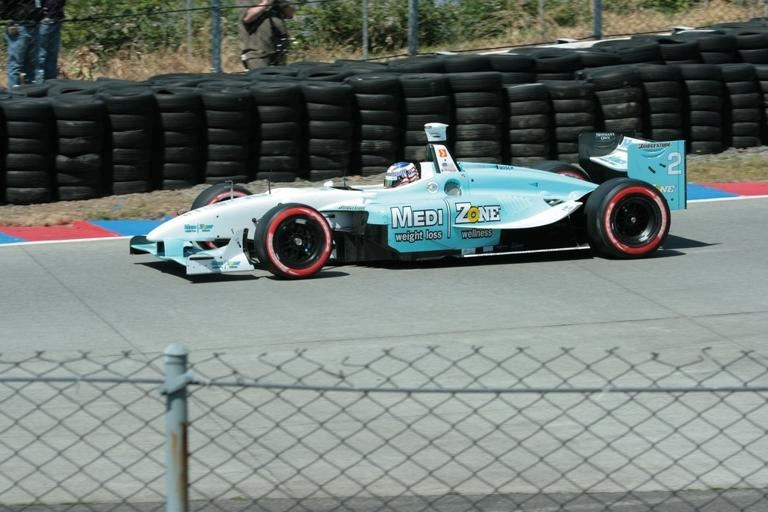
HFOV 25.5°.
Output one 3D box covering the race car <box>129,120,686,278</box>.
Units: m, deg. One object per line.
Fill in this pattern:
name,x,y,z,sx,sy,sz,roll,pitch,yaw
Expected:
race car,0.039,-0.886,22.665,9.893,1.616,2.956,-1,8,-6
